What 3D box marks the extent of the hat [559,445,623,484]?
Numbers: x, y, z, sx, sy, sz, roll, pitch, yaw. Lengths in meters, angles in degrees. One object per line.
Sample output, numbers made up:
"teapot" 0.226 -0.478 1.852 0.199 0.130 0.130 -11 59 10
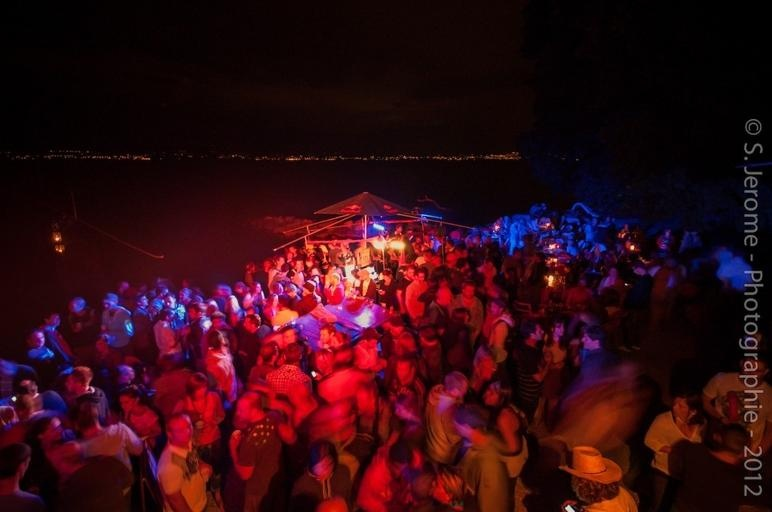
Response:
"hat" 2.691 2.775 7.512 0.836 0.301 0.753 3 6 31
